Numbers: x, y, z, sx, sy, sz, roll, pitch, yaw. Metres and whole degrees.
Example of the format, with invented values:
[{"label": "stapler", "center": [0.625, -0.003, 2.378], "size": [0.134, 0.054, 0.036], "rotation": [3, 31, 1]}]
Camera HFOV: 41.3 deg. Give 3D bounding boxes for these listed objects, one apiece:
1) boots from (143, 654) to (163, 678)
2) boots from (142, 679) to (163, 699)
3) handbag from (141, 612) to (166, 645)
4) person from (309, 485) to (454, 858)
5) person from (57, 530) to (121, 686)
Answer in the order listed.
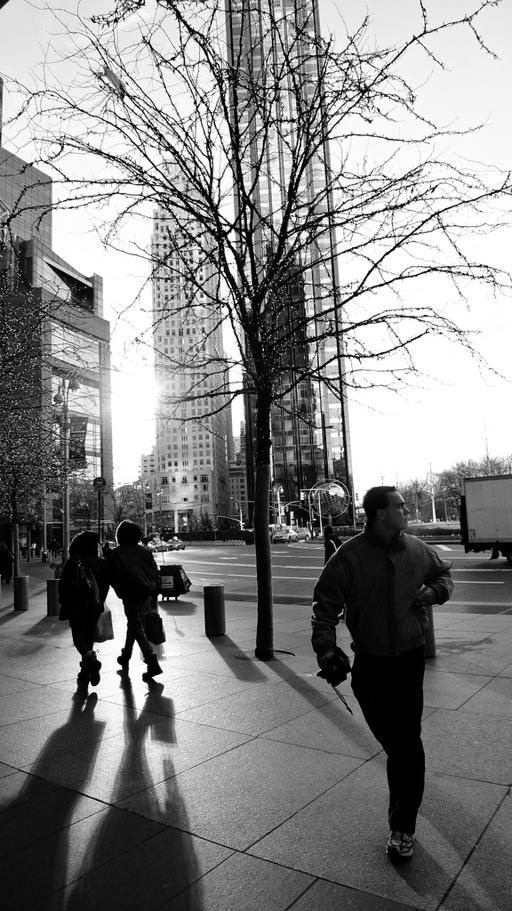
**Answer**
[{"label": "boots", "center": [-1.020, 2.140, 6.887], "size": [0.268, 0.317, 0.145], "rotation": [-13, -15, 37]}, {"label": "boots", "center": [-0.996, 2.248, 6.555], "size": [0.108, 0.045, 0.175], "rotation": [42, 12, -30]}, {"label": "handbag", "center": [-1.078, 1.812, 7.075], "size": [0.204, 0.342, 0.347], "rotation": [-1, -6, -10]}, {"label": "person", "center": [0.613, 0.960, 3.218], "size": [0.691, 1.635, 0.522], "rotation": [-2, -6, 4]}, {"label": "person", "center": [-1.726, 1.539, 6.845], "size": [0.515, 1.550, 0.926], "rotation": [0, -6, -12]}]
